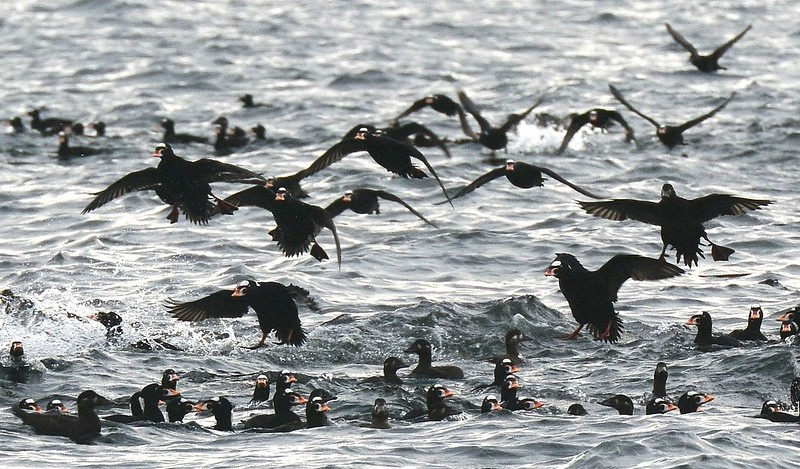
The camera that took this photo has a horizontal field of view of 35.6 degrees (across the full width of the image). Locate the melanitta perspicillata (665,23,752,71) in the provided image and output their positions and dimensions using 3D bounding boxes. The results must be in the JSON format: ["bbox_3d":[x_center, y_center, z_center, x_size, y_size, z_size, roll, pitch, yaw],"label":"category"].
[{"bbox_3d":[10.758,-6.398,43.221,1.414,0.700,2.223,14,-7,-40],"label":"melanitta perspicillata"}]
